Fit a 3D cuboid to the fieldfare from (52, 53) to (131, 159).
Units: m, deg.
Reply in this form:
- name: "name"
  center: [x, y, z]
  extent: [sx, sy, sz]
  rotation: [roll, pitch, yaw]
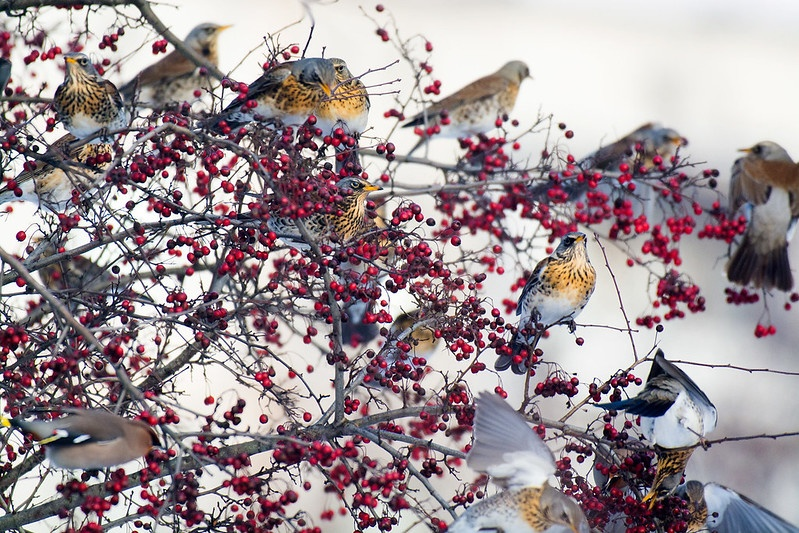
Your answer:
- name: "fieldfare"
  center: [-2.614, -1.446, 11.132]
  extent: [0.541, 0.820, 0.926]
  rotation: [-3, 12, 4]

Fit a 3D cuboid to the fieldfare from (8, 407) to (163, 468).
- name: "fieldfare"
  center: [-2.346, 1.299, 9.959]
  extent: [0.981, 0.438, 0.299]
  rotation: [1, -14, -1]

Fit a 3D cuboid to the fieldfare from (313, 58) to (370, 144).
- name: "fieldfare"
  center: [-0.494, -1.482, 11.417]
  extent: [0.459, 0.789, 0.709]
  rotation: [0, 17, 17]

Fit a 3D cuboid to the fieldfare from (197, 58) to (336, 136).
- name: "fieldfare"
  center: [-1.106, -1.504, 11.398]
  extent: [1.198, 0.820, 0.527]
  rotation: [21, 21, 28]

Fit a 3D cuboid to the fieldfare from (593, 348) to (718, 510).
- name: "fieldfare"
  center: [2.190, 1.238, 10.788]
  extent: [0.694, 1.443, 0.770]
  rotation: [-2, 16, 13]

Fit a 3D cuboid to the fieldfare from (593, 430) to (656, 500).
- name: "fieldfare"
  center: [1.820, 1.647, 10.787]
  extent: [0.488, 0.487, 0.729]
  rotation: [0, -15, 4]
